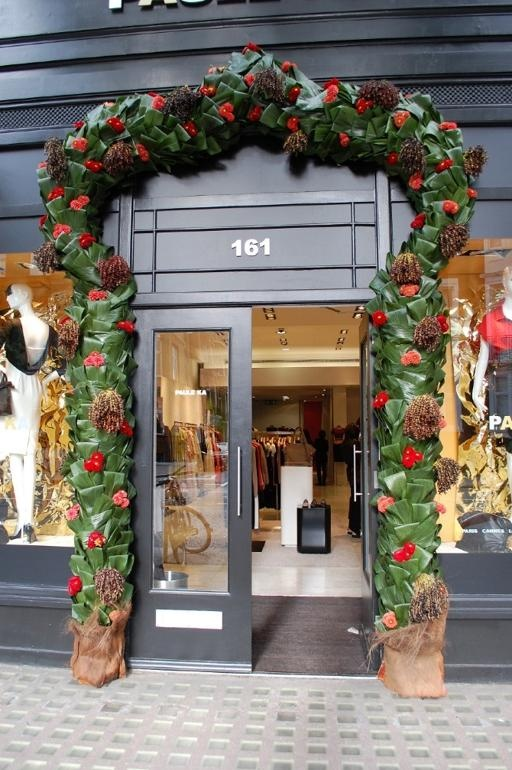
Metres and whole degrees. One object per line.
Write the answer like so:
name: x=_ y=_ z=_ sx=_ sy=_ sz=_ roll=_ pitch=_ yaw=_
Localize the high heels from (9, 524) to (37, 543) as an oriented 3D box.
high heels: x=-1.358 y=0.879 z=4.006 sx=0.134 sy=0.089 sz=0.091 roll=1 pitch=-3 yaw=14
